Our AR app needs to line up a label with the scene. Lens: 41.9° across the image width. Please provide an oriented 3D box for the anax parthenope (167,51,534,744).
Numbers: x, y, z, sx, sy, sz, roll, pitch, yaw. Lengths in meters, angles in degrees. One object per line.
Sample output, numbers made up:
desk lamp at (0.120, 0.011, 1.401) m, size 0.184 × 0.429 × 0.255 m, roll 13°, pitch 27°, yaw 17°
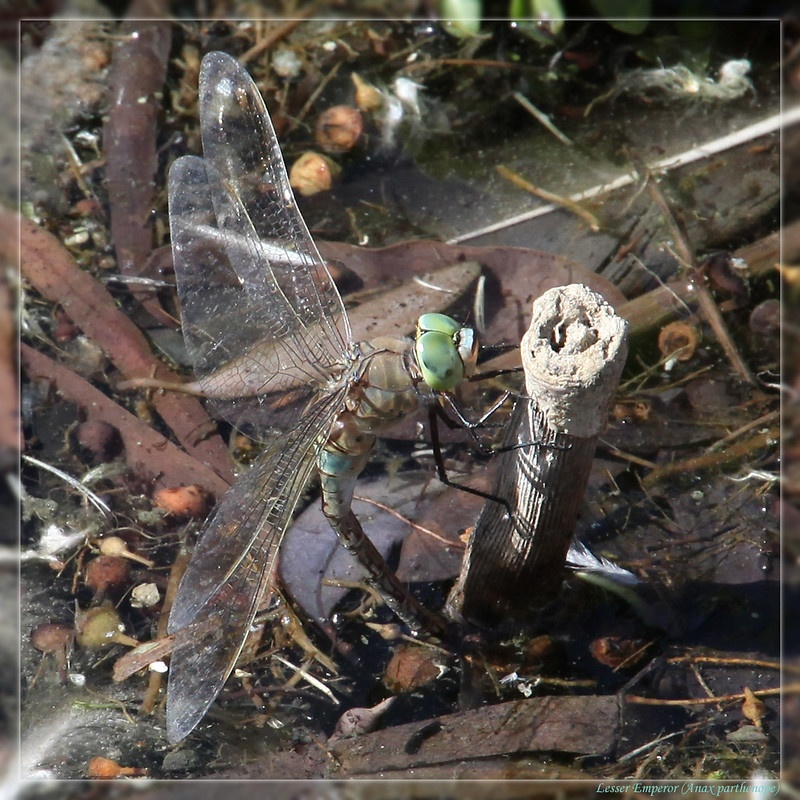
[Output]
anax parthenope at (-0.190, -0.045, 1.959) m, size 0.508 × 0.476 × 1.250 m, roll -5°, pitch 63°, yaw 2°
